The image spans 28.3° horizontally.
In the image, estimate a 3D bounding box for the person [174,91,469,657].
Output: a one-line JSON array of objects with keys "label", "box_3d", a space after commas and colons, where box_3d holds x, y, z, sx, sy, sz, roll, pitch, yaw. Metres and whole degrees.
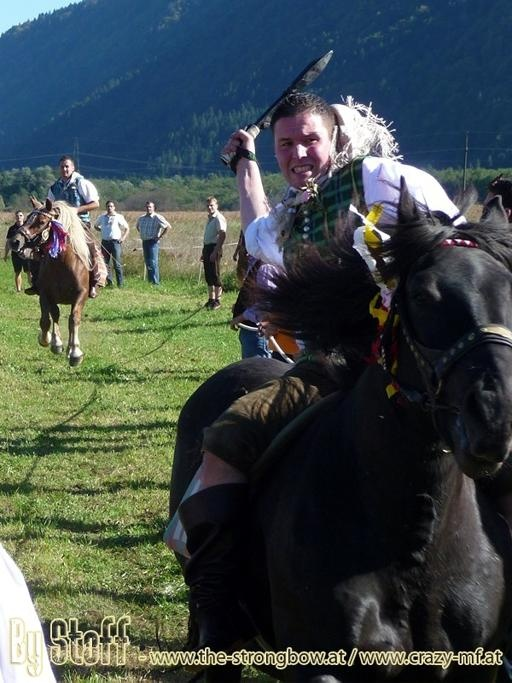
[{"label": "person", "box_3d": [0.351, -0.035, 3.045, 0.913, 1.498, 0.501, -5, -28, 21]}]

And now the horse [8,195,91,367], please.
[{"label": "horse", "box_3d": [-1.927, -0.570, 9.650, 0.645, 1.577, 1.271, -3, 11, -8]}]

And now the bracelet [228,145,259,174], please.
[{"label": "bracelet", "box_3d": [-0.048, -0.665, 3.625, 0.052, 0.067, 0.103, 24, 6, -6]}]

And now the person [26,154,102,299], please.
[{"label": "person", "box_3d": [-2.062, -1.199, 10.748, 0.948, 1.496, 0.725, -1, -1, -7]}]
